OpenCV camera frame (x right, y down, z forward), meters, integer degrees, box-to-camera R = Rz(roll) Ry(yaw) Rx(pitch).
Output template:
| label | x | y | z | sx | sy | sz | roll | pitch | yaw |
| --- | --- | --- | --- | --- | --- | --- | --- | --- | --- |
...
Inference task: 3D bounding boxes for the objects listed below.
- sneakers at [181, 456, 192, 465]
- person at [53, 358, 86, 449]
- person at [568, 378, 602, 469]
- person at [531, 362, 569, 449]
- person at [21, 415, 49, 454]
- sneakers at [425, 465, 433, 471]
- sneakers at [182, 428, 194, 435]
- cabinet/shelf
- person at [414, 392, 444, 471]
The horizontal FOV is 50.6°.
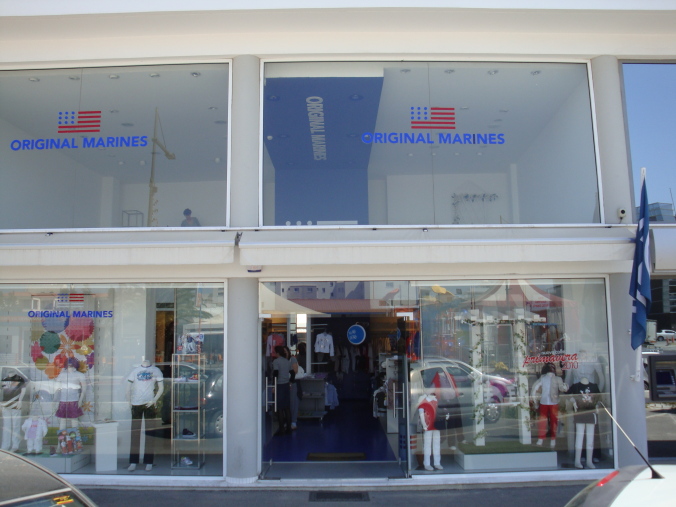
| label | x | y | z | sx | sy | sz | roll | pitch | yaw |
| --- | --- | --- | --- | --- | --- | --- | --- | --- | --- |
| sneakers | -3.031 | 4.130 | 14.299 | 0.234 | 0.163 | 0.066 | 2 | 8 | 14 |
| person | -5.478 | 3.103 | 14.648 | 0.596 | 1.822 | 0.534 | -3 | 8 | -15 |
| person | 4.967 | 3.407 | 14.450 | 0.570 | 1.714 | 0.490 | 1 | 8 | 13 |
| person | 4.283 | 3.094 | 14.590 | 0.676 | 1.607 | 0.424 | 1 | 8 | 9 |
| person | -6.175 | 3.701 | 14.560 | 0.654 | 0.893 | 0.238 | -2 | -20 | -13 |
| sneakers | 1.809 | 4.294 | 14.348 | 0.161 | 0.081 | 0.043 | -1 | 8 | -2 |
| sneakers | -3.033 | 3.571 | 14.414 | 0.186 | 0.113 | 0.124 | 3 | -11 | -1 |
| cabinet/shelf | -3.118 | 2.994 | 14.680 | 0.555 | 1.600 | 0.560 | 2 | -6 | -36 |
| person | 1.848 | 3.568 | 14.484 | 0.446 | 1.475 | 0.502 | -1 | 8 | -4 |
